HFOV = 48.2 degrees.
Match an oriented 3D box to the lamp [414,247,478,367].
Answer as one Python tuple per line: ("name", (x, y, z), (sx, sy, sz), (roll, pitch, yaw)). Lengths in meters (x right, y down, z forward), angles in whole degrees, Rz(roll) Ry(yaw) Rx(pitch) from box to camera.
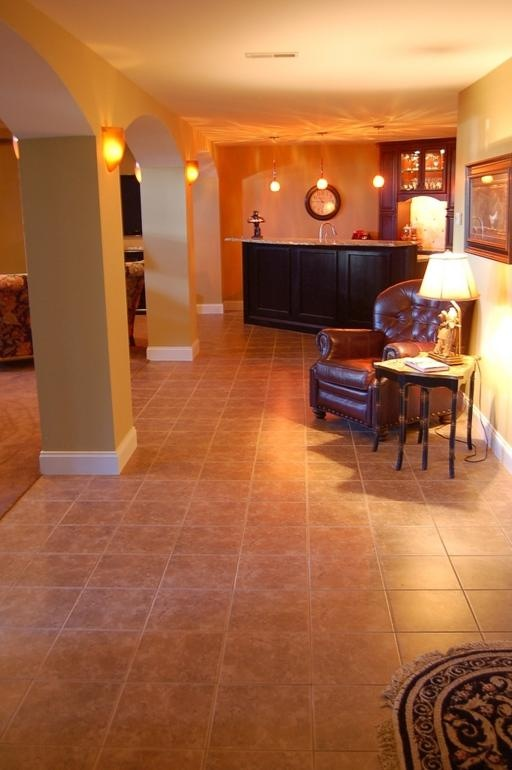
("lamp", (1.378, -0.571, 4.156), (0.374, 0.751, 0.840), (1, 11, 17))

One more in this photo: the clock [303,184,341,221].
("clock", (1.344, -3.659, 11.377), (0.634, 0.690, 0.070), (5, 12, 20))

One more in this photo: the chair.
("chair", (1.134, -0.284, 4.826), (1.086, 1.240, 0.960), (-6, 12, -32))

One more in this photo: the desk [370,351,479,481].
("desk", (1.162, 0.236, 3.914), (0.552, 0.585, 0.505), (6, 4, -20))

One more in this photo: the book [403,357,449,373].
("book", (1.122, -0.134, 3.800), (0.247, 0.050, 0.316), (-4, 11, -12))

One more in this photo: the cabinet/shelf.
("cabinet/shelf", (2.872, -3.540, 10.355), (1.326, 1.688, 0.538), (3, 11, 24))
